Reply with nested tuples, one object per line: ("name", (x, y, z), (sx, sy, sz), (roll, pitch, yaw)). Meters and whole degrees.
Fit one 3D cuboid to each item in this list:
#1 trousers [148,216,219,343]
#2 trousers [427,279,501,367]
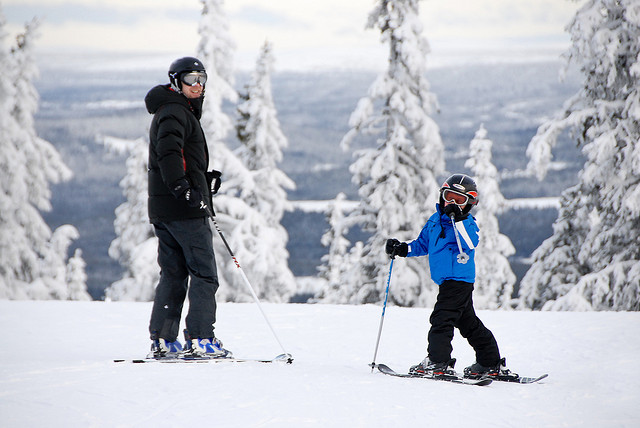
("trousers", (-2.501, 1.183, 18.009), (0.979, 2.559, 1.118), (1, 0, -13))
("trousers", (2.504, 1.918, 17.872), (1.434, 1.707, 0.871), (2, -2, -16))
